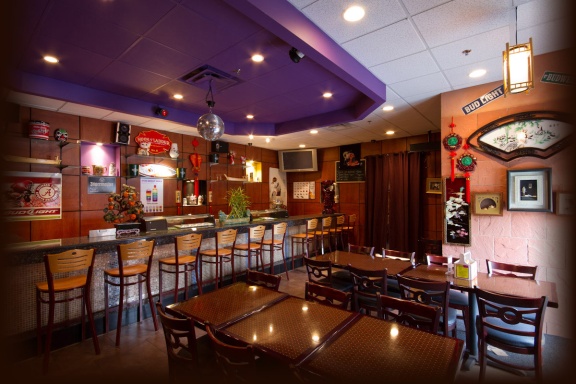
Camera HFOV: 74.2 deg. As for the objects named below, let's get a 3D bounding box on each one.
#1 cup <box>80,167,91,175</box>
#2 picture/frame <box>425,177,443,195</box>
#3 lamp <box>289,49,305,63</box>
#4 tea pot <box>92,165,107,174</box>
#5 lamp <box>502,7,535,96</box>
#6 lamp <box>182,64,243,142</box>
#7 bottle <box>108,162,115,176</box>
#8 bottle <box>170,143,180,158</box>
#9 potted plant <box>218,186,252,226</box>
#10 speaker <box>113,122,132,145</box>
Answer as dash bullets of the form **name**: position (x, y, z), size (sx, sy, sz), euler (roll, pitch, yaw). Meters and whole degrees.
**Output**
- **cup**: position (-3.740, -0.404, 7.157), size (0.144, 0.128, 0.137), euler (1, 2, 0)
- **picture/frame**: position (3.232, -0.141, 8.461), size (0.387, 0.383, 0.043), euler (4, 4, 38)
- **lamp**: position (0.151, -1.842, 5.095), size (0.218, 0.163, 0.195), euler (-1, -1, 33)
- **tea pot**: position (-3.568, -0.424, 7.288), size (0.194, 0.132, 0.145), euler (5, -5, -32)
- **lamp**: position (2.623, -1.646, 4.400), size (0.286, 1.060, 0.648), euler (-1, -2, 30)
- **lamp**: position (-1.255, -1.302, 6.215), size (0.998, 1.195, 1.017), euler (-4, -6, 40)
- **bottle**: position (-3.442, -0.440, 7.557), size (0.130, 0.260, 0.140), euler (0, -2, 0)
- **bottle**: position (-2.469, -0.902, 8.398), size (0.114, 0.329, 0.201), euler (-2, -2, 37)
- **potted plant**: position (-1.119, 0.295, 7.932), size (0.497, 0.712, 0.721), euler (-1, -1, 41)
- **speaker**: position (-3.239, -1.163, 7.562), size (0.269, 0.431, 0.148), euler (1, -2, -41)
